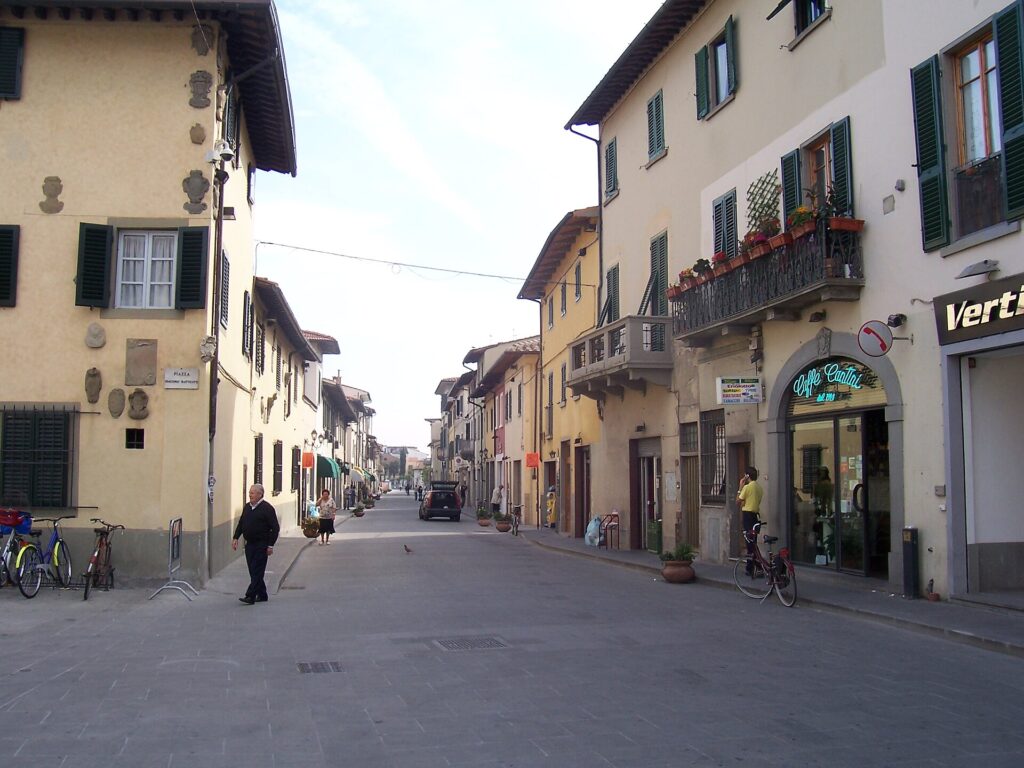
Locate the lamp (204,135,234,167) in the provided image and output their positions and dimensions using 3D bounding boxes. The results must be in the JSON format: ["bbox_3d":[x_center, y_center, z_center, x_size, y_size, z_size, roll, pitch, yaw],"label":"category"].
[{"bbox_3d":[-5.344,-4.257,19.864,0.556,0.654,0.484,-3,1,5],"label":"lamp"}]

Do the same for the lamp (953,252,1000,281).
[{"bbox_3d":[6.761,-1.694,15.881,0.172,0.284,0.703,0,-2,-27],"label":"lamp"}]

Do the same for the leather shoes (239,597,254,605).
[{"bbox_3d":[-4.290,3.516,17.663,0.195,0.113,0.411,1,-2,-31],"label":"leather shoes"}]

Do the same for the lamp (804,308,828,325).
[{"bbox_3d":[5.378,-1.200,19.225,0.186,0.253,0.478,0,-1,-7],"label":"lamp"}]

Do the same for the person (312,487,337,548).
[{"bbox_3d":[-5.276,3.763,30.762,0.378,1.568,2.551,0,-1,-11],"label":"person"}]

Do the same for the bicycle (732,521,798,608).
[{"bbox_3d":[4.272,3.100,17.950,0.606,0.981,1.503,-8,-2,-5],"label":"bicycle"}]

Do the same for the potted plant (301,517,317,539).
[{"bbox_3d":[-6.057,4.311,32.407,0.460,0.570,0.509,5,-6,-12],"label":"potted plant"}]

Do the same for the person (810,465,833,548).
[{"bbox_3d":[5.578,2.266,19.577,0.158,1.577,0.660,0,0,-14],"label":"person"}]

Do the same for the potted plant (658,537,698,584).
[{"bbox_3d":[3.106,3.331,20.468,0.587,0.792,0.652,0,-3,24],"label":"potted plant"}]

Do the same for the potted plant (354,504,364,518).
[{"bbox_3d":[-7.331,5.962,51.132,0.433,0.601,0.482,2,-4,13],"label":"potted plant"}]

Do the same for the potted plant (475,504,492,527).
[{"bbox_3d":[-1.142,5.178,42.609,0.576,0.756,0.645,2,-1,-7],"label":"potted plant"}]

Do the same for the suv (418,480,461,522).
[{"bbox_3d":[-3.211,5.213,48.033,1.645,1.712,2.400,0,-1,-8],"label":"suv"}]

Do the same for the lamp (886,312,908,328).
[{"bbox_3d":[6.104,-1.004,17.311,0.315,0.216,0.150,-2,-1,45],"label":"lamp"}]

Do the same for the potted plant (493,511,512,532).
[{"bbox_3d":[-0.366,4.939,38.598,0.465,0.583,0.505,-6,-10,35],"label":"potted plant"}]

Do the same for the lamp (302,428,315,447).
[{"bbox_3d":[-7.962,2.111,42.405,0.426,0.720,0.640,-1,5,2],"label":"lamp"}]
